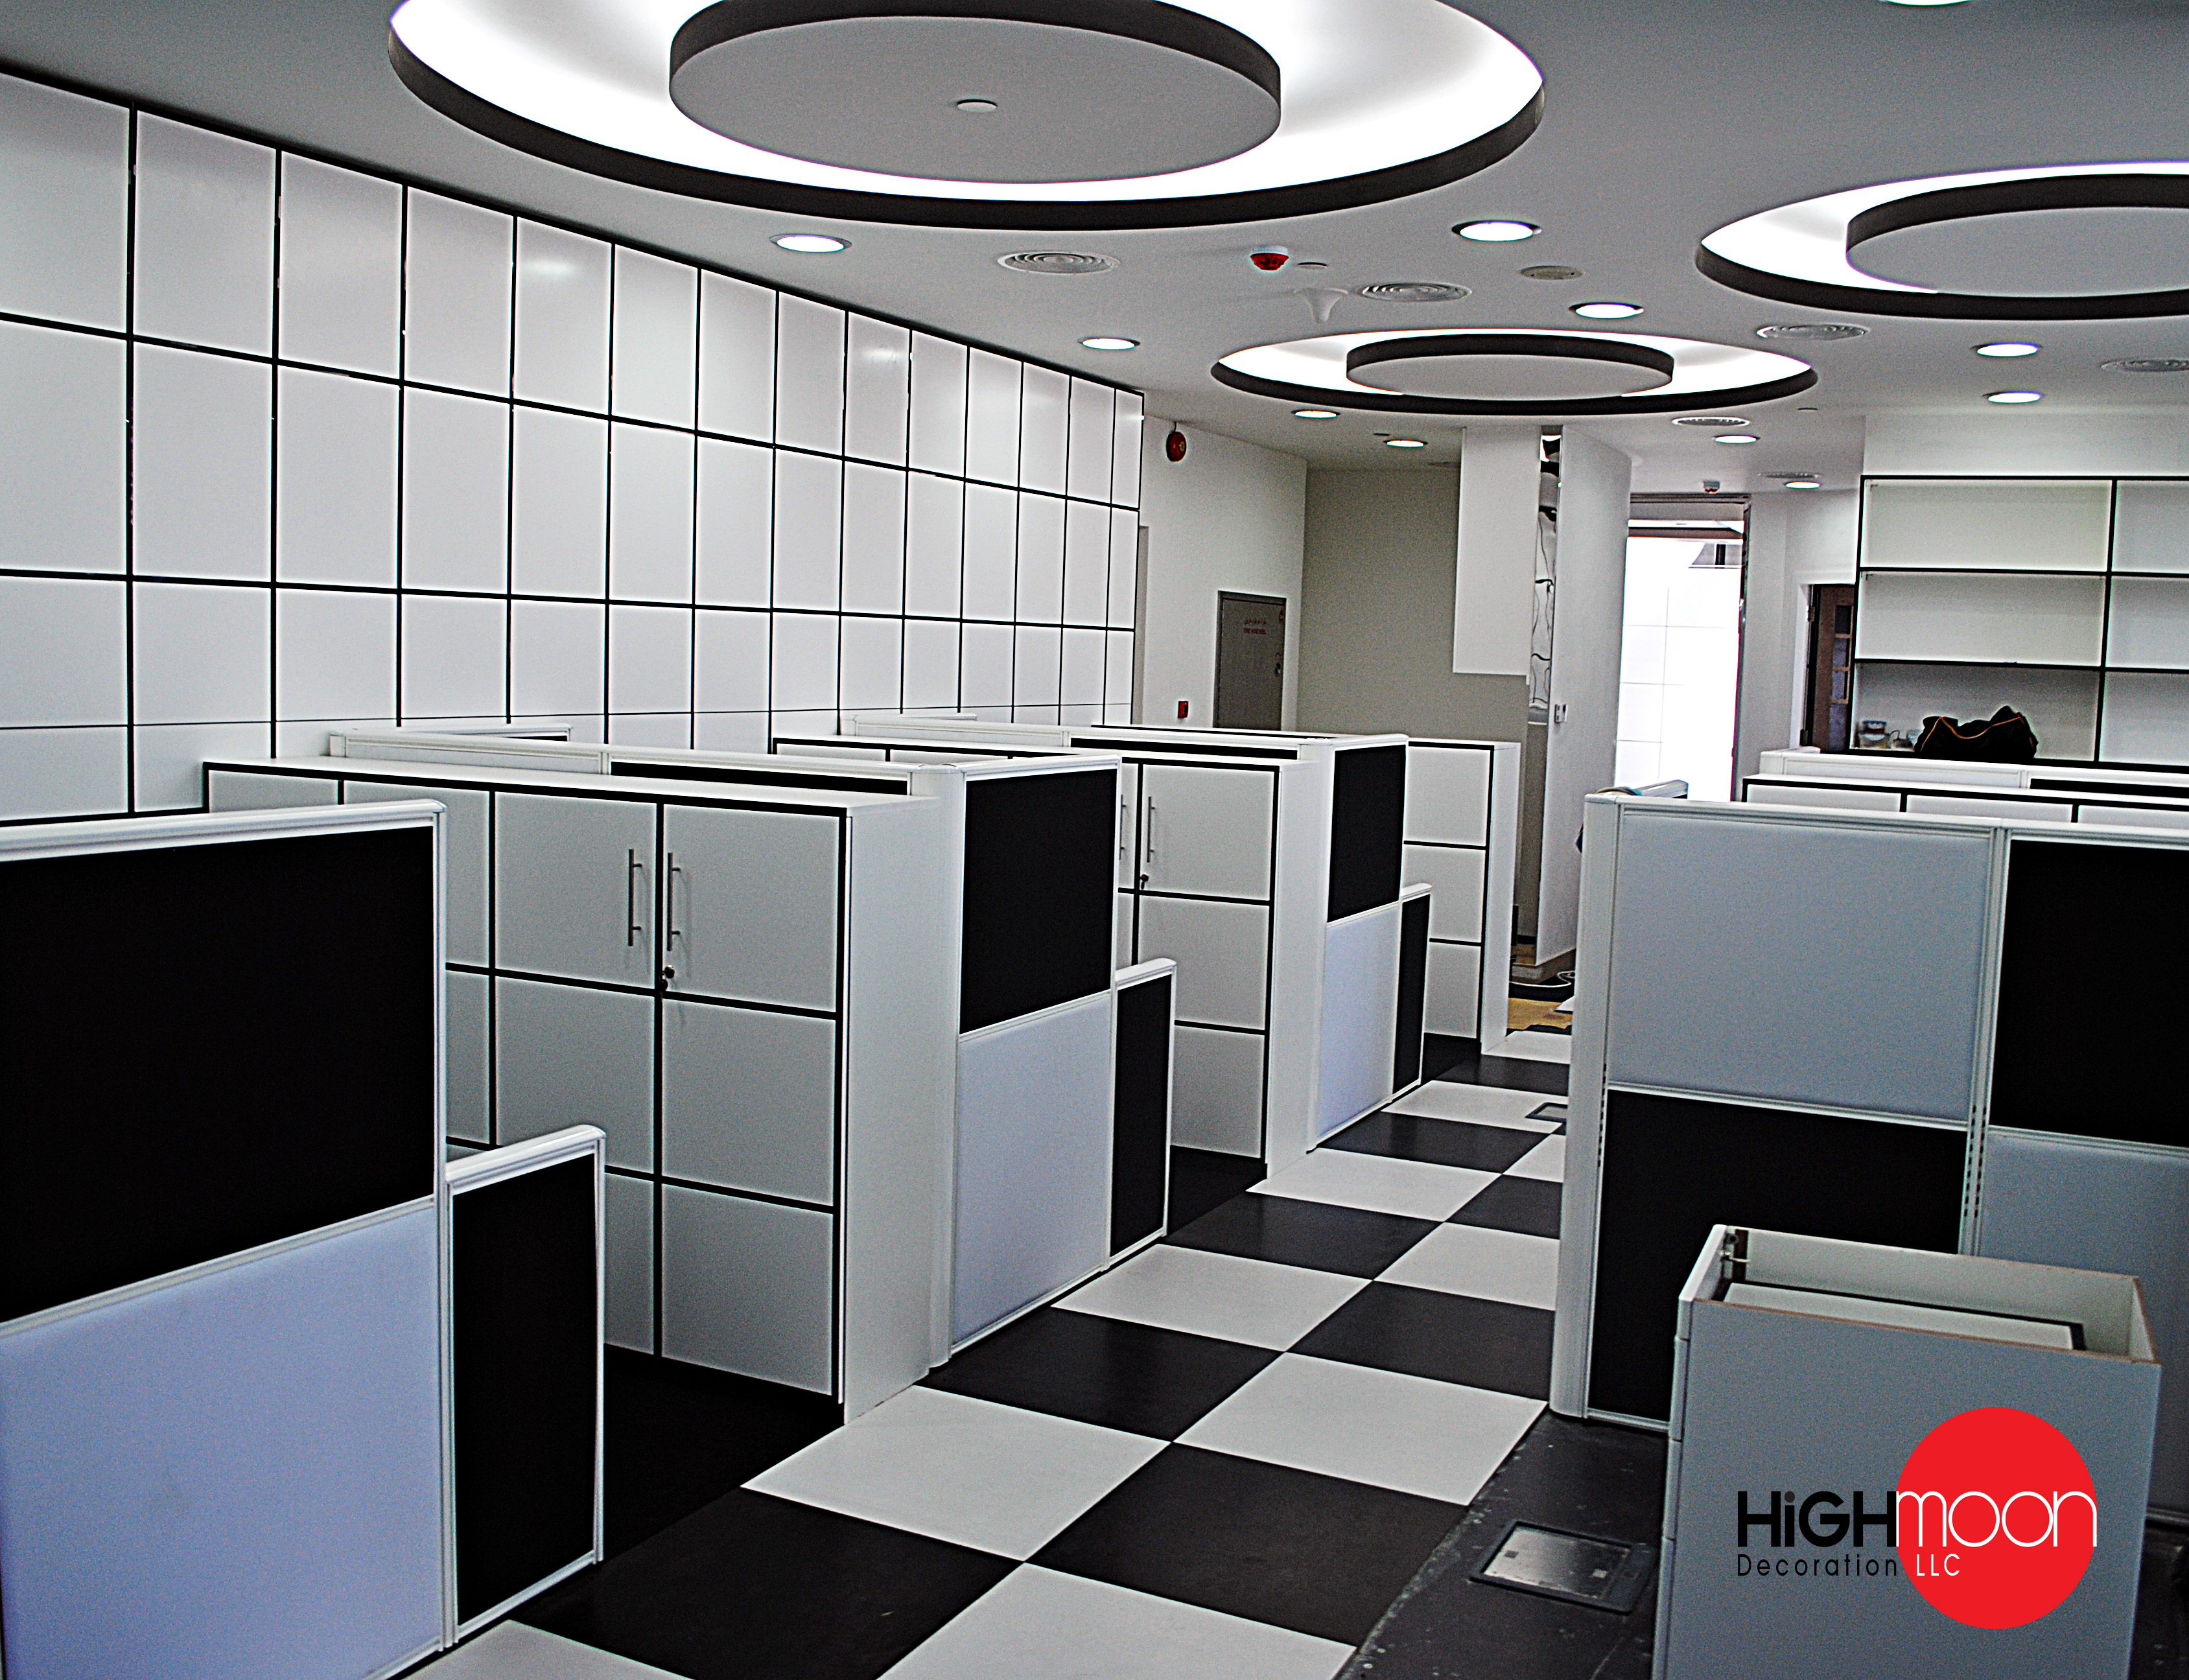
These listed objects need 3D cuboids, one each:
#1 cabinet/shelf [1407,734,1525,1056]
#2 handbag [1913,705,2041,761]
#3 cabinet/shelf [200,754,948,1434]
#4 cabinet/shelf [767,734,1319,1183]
[{"bbox_3d":[1.829,0.241,8.104,0.581,1.519,0.544,5,8,15],"label":"cabinet/shelf"},{"bbox_3d":[4.625,-0.572,8.329,0.638,0.224,0.487,0,6,32],"label":"handbag"},{"bbox_3d":[-1.065,0.583,3.463,1.431,1.039,0.371,6,10,28],"label":"cabinet/shelf"},{"bbox_3d":[-0.147,0.349,4.774,1.467,1.297,0.541,4,6,35],"label":"cabinet/shelf"}]
